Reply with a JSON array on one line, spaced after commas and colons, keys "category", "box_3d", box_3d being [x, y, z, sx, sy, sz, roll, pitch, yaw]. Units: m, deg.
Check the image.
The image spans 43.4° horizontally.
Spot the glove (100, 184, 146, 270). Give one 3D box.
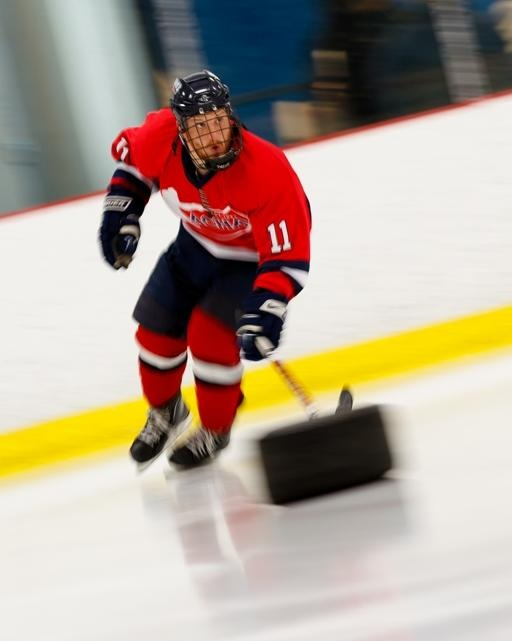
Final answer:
[{"category": "glove", "box_3d": [-0.405, -0.279, 1.978, 0.153, 0.219, 0.097, 1, -11, 18]}]

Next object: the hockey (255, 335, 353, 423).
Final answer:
[{"category": "hockey", "box_3d": [0.145, 0.152, 1.756, 0.066, 0.199, 0.264, 0, 47, -55]}]

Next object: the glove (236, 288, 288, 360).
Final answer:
[{"category": "glove", "box_3d": [0.046, 0.015, 1.614, 0.073, 0.164, 0.136, 20, -3, -43]}]

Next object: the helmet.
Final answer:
[{"category": "helmet", "box_3d": [-0.137, -0.536, 1.683, 0.185, 0.218, 0.238, -23, 32, -15]}]

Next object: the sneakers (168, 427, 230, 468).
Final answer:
[{"category": "sneakers", "box_3d": [-0.189, 0.373, 1.968, 0.234, 0.082, 0.080, -11, 9, -36]}]
